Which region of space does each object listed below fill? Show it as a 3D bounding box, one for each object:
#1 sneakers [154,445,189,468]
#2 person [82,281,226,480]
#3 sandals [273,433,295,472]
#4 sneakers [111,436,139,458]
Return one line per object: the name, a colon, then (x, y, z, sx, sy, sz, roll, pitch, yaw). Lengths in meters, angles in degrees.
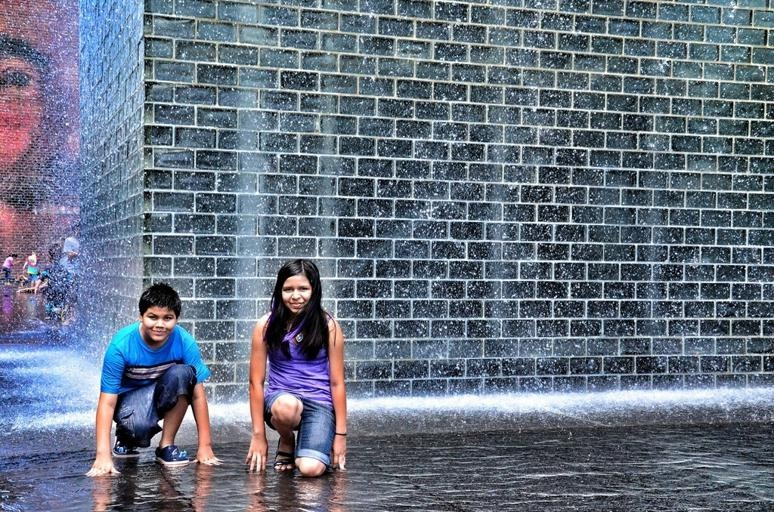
sneakers: (-1.794, 1.669, 8.507, 0.251, 0.110, 0.139, -1, -3, 31)
person: (-1.936, 0.981, 8.384, 1.071, 1.464, 1.092, 0, 1, 32)
sandals: (-0.842, 1.645, 8.552, 0.175, 0.130, 0.527, 3, 18, -6)
sneakers: (-2.206, 1.627, 8.644, 0.277, 0.211, 0.113, 2, 1, -6)
